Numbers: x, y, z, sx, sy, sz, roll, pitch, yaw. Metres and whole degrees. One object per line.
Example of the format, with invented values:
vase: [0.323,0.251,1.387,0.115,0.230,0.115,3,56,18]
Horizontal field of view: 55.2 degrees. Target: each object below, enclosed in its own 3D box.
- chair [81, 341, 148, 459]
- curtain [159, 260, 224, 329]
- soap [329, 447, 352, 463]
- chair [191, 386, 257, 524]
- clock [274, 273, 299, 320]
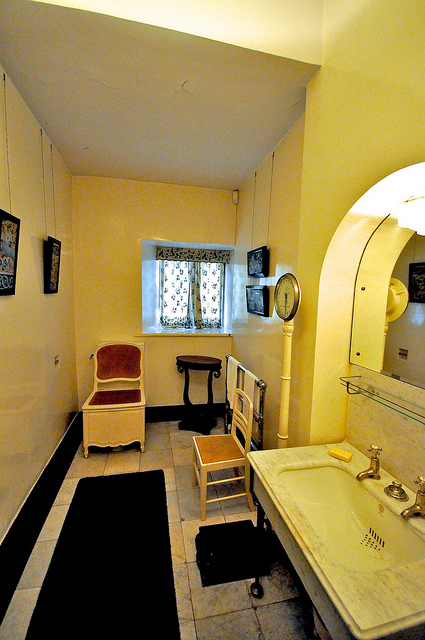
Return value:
chair: [-0.796,0.635,3.418,0.459,0.718,0.729,-1,12,-11]
curtain: [-0.246,-0.295,4.293,0.586,0.764,0.076,-2,8,-12]
soap: [0.573,0.604,1.830,0.099,0.024,0.055,12,16,40]
chair: [0.070,0.810,2.690,0.443,0.756,0.785,2,12,4]
clock: [0.397,-0.123,2.154,0.033,0.308,0.259,1,1,-10]
